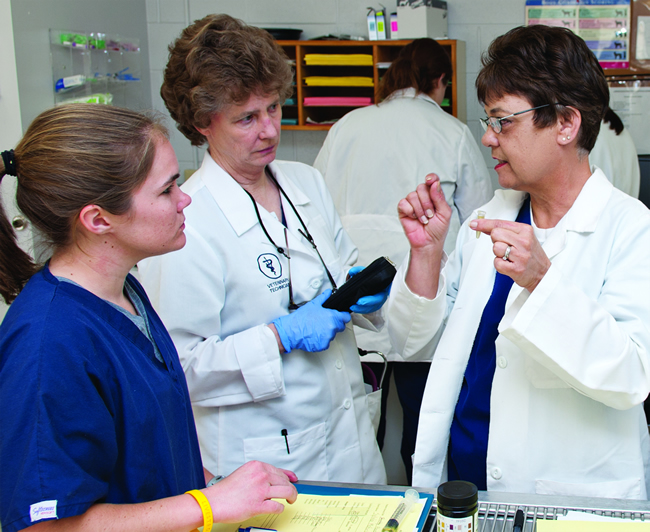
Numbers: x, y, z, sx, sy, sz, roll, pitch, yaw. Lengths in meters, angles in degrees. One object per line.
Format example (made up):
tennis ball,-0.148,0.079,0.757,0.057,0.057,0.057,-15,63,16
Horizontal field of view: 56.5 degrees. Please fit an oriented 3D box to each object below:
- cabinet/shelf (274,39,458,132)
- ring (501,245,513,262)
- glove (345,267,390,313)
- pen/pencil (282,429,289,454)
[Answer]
cabinet/shelf,0.300,-1.197,4.063,1.134,0.550,0.333,-3,7,-7
ring,0.396,-0.027,1.315,0.018,0.032,0.029,-13,42,-13
glove,0.140,0.070,1.740,0.136,0.053,0.102,-27,7,-5
pen/pencil,-0.109,0.475,1.653,0.015,0.071,0.010,-6,-6,-3
